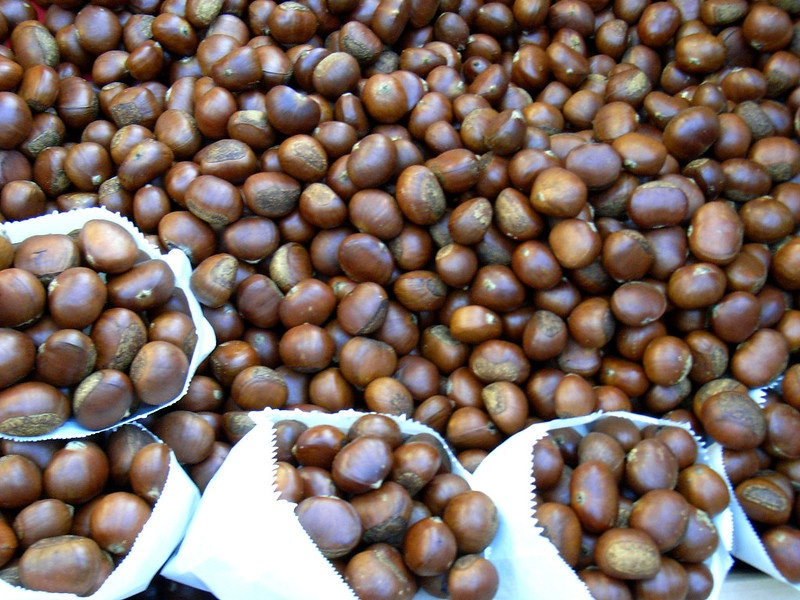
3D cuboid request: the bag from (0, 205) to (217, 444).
[{"bbox_3d":[-1.503,0.108,3.854,1.138,0.392,0.996,-3,84,-39],"label":"bag"}]
